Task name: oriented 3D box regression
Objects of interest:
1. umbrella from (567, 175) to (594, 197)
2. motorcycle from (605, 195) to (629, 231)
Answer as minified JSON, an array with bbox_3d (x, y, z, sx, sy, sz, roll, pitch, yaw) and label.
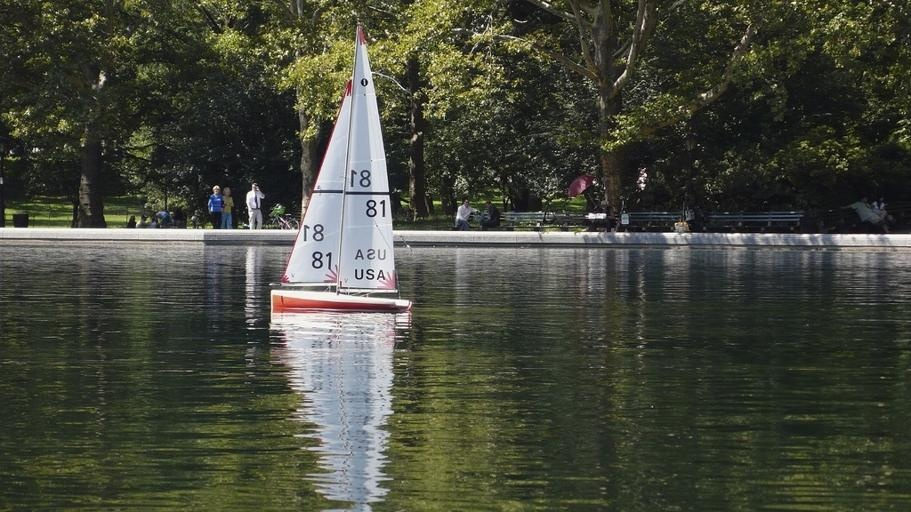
[{"bbox_3d":[6.904,-3.864,81.257,1.240,1.250,2.725,0,-3,3],"label":"umbrella"},{"bbox_3d":[8.036,-1.962,73.157,1.137,1.639,1.386,0,-3,6],"label":"motorcycle"}]
